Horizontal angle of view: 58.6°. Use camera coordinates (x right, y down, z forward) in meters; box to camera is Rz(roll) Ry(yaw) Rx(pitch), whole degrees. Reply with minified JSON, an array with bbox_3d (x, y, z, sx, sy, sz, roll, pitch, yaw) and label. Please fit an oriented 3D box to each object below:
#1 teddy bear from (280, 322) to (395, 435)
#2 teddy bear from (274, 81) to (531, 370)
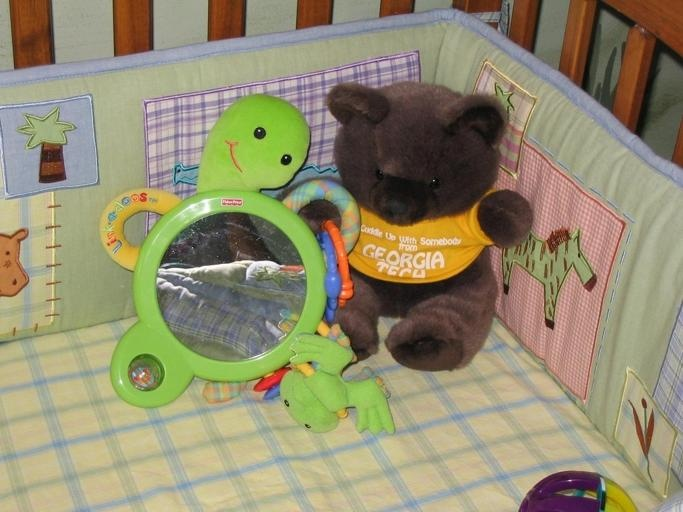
[{"bbox_3d":[-0.027,0.288,1.515,0.265,0.248,0.237,5,25,-6],"label":"teddy bear"},{"bbox_3d":[0.138,-0.077,1.480,0.564,0.637,0.439,7,46,10],"label":"teddy bear"}]
